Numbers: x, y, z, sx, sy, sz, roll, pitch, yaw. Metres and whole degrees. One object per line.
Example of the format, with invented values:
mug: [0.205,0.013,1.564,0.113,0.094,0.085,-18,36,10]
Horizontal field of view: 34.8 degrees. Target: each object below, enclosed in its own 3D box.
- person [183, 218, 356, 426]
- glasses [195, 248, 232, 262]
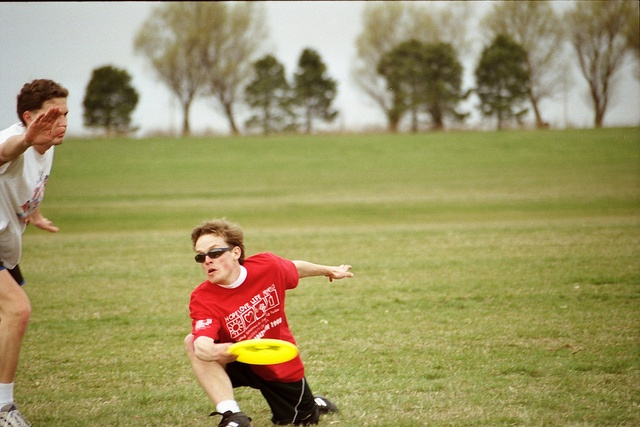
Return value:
person: [-0.707,1.211,11.191,1.504,2.264,0.663,0,7,-7]
glasses: [-1.152,0.456,11.130,0.407,0.175,0.103,0,6,-1]
